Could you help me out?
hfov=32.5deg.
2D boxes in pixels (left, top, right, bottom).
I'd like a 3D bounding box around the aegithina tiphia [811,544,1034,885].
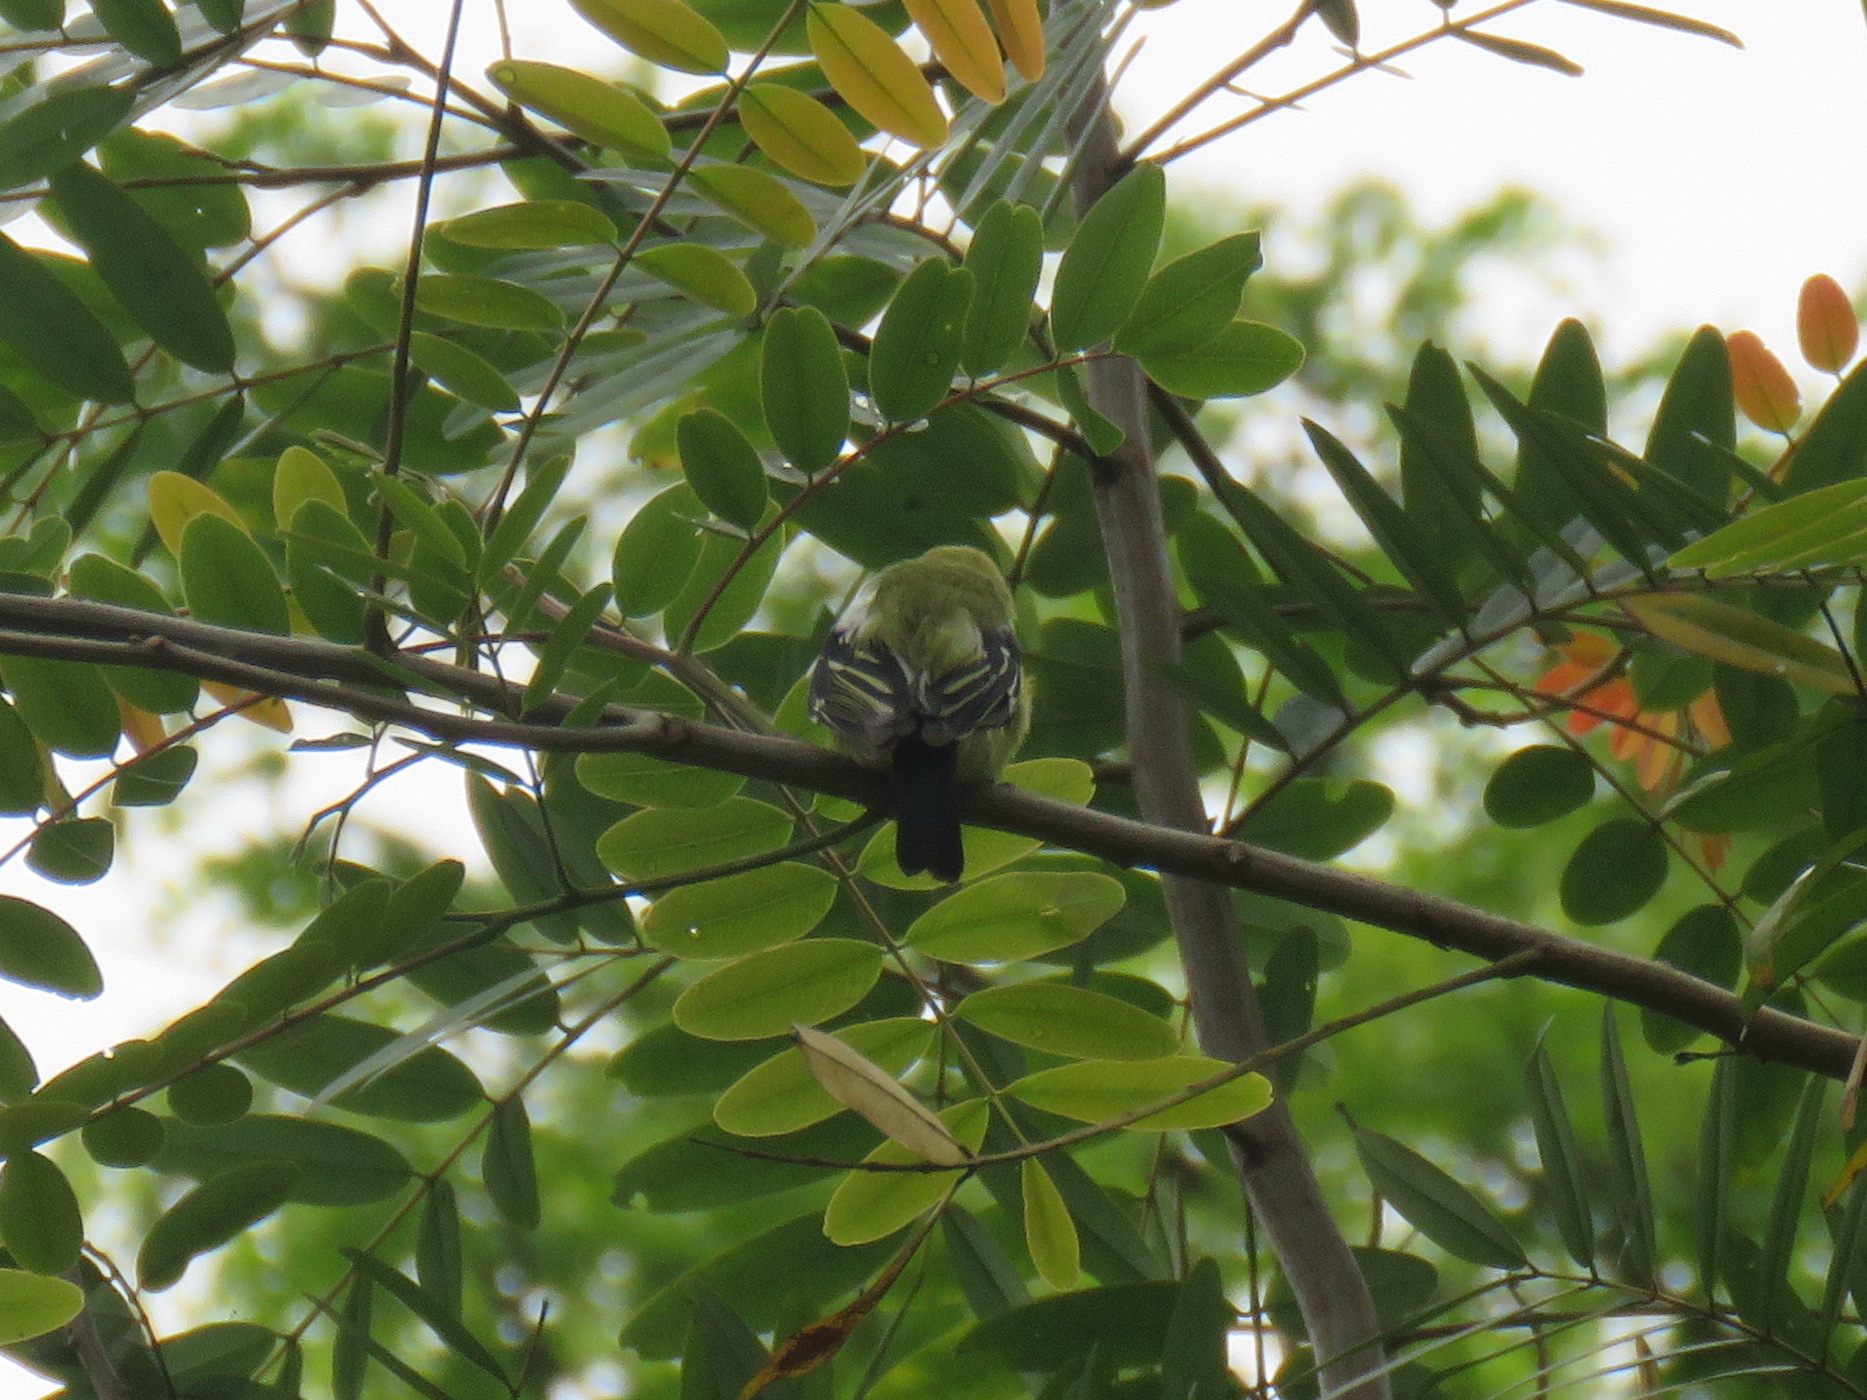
[{"bbox_3d":[-0.028,-0.034,6.984,0.325,0.857,0.368,2,-77,3],"label":"aegithina tiphia"}]
